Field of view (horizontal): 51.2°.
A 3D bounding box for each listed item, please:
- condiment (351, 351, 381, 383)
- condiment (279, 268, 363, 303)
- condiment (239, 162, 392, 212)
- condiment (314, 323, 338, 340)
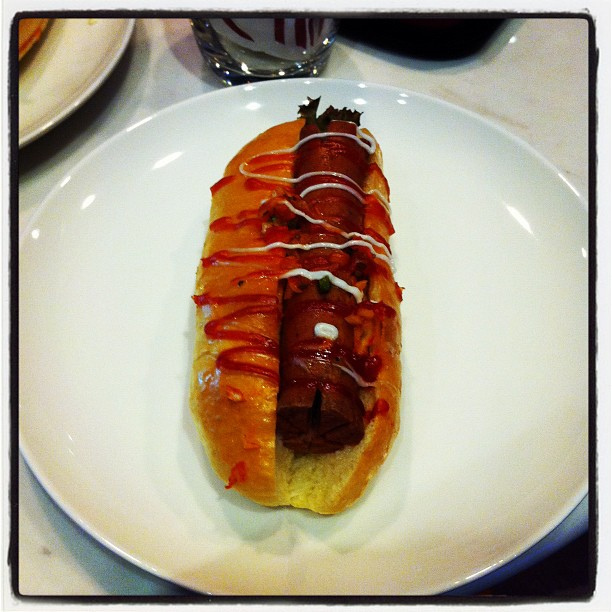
[{"bbox_3d":[0.263,0.270,2.773,0.139,0.140,0.126,4,81,1],"label":"condiment"},{"bbox_3d":[0.079,-0.112,2.829,0.395,0.116,0.087,17,82,3],"label":"condiment"},{"bbox_3d":[0.014,-0.588,3.164,0.860,0.165,0.062,12,35,-3],"label":"condiment"},{"bbox_3d":[0.089,0.107,2.678,0.101,0.030,0.063,15,82,2],"label":"condiment"}]
